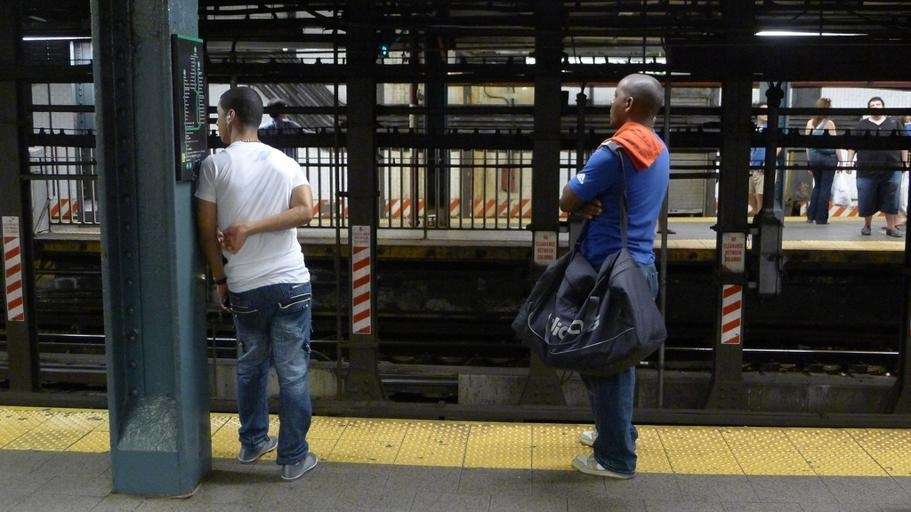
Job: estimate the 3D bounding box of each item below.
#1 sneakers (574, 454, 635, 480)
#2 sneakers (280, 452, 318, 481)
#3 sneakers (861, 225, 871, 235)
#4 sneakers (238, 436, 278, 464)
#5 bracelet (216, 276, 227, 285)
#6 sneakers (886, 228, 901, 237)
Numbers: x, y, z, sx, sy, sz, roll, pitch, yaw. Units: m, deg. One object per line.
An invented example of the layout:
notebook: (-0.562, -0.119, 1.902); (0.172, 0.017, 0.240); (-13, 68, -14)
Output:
sneakers: (1.565, 2.204, 11.307); (0.660, 0.238, 0.236); (7, 4, 13)
sneakers: (-1.643, 2.231, 11.159); (0.164, 0.167, 0.450); (5, 12, 25)
sneakers: (7.455, -0.443, 19.347); (0.112, 0.090, 0.232); (-1, -1, 15)
sneakers: (-2.107, 2.074, 11.415); (0.195, 0.229, 0.579); (9, 15, 34)
bracelet: (-2.440, 0.257, 11.079); (0.100, 0.047, 0.118); (-1, -1, -5)
sneakers: (7.872, -0.418, 19.097); (0.391, 0.139, 0.125); (-2, 7, -19)
